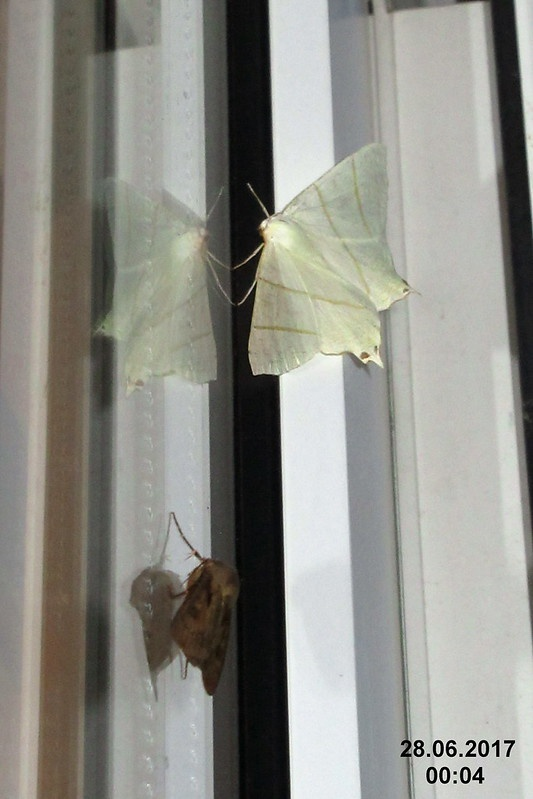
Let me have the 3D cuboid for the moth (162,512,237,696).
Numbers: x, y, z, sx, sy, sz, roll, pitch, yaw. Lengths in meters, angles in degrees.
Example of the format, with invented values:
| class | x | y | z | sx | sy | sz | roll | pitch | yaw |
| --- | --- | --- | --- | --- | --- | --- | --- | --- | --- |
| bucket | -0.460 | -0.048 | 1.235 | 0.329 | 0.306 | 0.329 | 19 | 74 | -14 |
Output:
| class | x | y | z | sx | sy | sz | roll | pitch | yaw |
| --- | --- | --- | --- | --- | --- | --- | --- | --- | --- |
| moth | -0.057 | 0.200 | 1.516 | 0.041 | 0.130 | 0.172 | -2 | 32 | 15 |

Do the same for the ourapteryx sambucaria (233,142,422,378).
| class | x | y | z | sx | sy | sz | roll | pitch | yaw |
| --- | --- | --- | --- | --- | --- | --- | --- | --- | --- |
| ourapteryx sambucaria | 0.058 | -0.135 | 1.569 | 0.159 | 0.205 | 0.107 | -3 | -4 | -1 |
